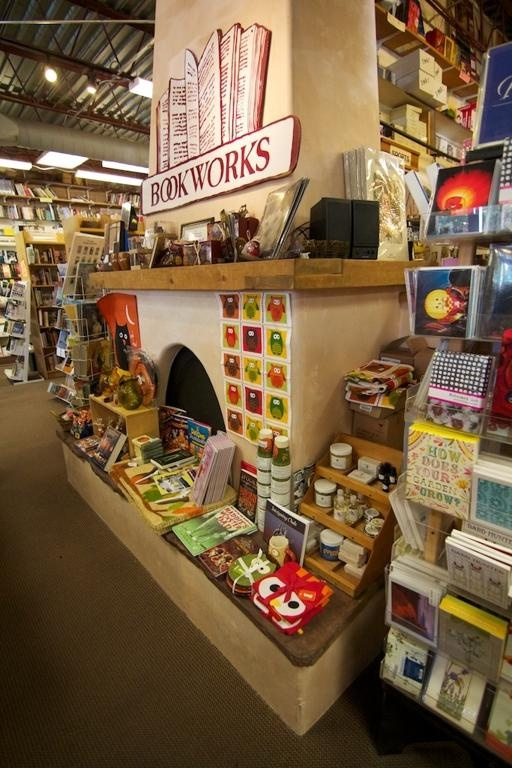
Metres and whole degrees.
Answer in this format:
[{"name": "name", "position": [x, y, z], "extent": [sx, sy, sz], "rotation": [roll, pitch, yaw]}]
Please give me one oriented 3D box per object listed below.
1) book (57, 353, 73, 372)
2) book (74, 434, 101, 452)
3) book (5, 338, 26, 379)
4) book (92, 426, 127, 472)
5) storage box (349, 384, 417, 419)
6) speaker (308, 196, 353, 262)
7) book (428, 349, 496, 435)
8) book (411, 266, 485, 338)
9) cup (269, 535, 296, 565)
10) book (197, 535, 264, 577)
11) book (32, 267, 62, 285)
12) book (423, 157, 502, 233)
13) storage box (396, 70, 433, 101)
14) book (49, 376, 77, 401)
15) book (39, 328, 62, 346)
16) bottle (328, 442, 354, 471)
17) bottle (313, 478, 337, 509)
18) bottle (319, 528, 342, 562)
[{"name": "book", "position": [-1.944, -0.222, 5.031], "extent": [0.063, 0.214, 0.202], "rotation": [6, 5, -45]}, {"name": "book", "position": [-1.070, 0.377, 3.175], "extent": [0.110, 0.032, 0.105], "rotation": [12, 22, 43]}, {"name": "book", "position": [-3.438, -0.354, 7.063], "extent": [0.191, 0.527, 0.508], "rotation": [-7, 16, -34]}, {"name": "book", "position": [-0.829, 0.366, 2.794], "extent": [0.053, 0.228, 0.231], "rotation": [28, -27, -29]}, {"name": "storage box", "position": [0.473, 0.074, 1.946], "extent": [0.259, 0.141, 0.234], "rotation": [1, 14, 17]}, {"name": "speaker", "position": [0.278, -0.579, 1.851], "extent": [0.161, 0.214, 0.246], "rotation": [-2, 13, 7]}, {"name": "book", "position": [0.494, 0.016, 1.223], "extent": [0.164, 0.198, 0.053], "rotation": [8, 17, 40]}, {"name": "book", "position": [0.477, -0.202, 1.205], "extent": [0.057, 0.149, 0.150], "rotation": [-13, 18, -33]}, {"name": "cup", "position": [0.094, 0.608, 1.871], "extent": [0.061, 0.101, 0.105], "rotation": [-9, 19, -30]}, {"name": "book", "position": [-0.081, 0.667, 1.952], "extent": [0.287, 0.047, 0.152], "rotation": [-12, 16, -32]}, {"name": "book", "position": [-2.872, -1.450, 6.730], "extent": [0.301, 0.257, 0.373], "rotation": [-7, 14, -14]}, {"name": "book", "position": [0.491, -0.434, 1.160], "extent": [0.039, 0.164, 0.170], "rotation": [0, 11, -24]}, {"name": "storage box", "position": [1.221, -2.247, 3.758], "extent": [0.182, 0.121, 0.186], "rotation": [-12, 27, -33]}, {"name": "book", "position": [-2.046, 0.054, 5.227], "extent": [0.239, 0.104, 0.328], "rotation": [-14, 11, -25]}, {"name": "book", "position": [-2.850, -0.649, 6.817], "extent": [0.050, 0.243, 0.227], "rotation": [7, 4, 11]}, {"name": "bottle", "position": [0.343, 0.278, 1.977], "extent": [0.085, 0.091, 0.091], "rotation": [-12, 19, -33]}, {"name": "bottle", "position": [0.263, 0.424, 1.892], "extent": [0.087, 0.088, 0.091], "rotation": [-2, 16, -5]}, {"name": "bottle", "position": [0.273, 0.605, 1.887], "extent": [0.091, 0.102, 0.096], "rotation": [-1, 17, -2]}]
